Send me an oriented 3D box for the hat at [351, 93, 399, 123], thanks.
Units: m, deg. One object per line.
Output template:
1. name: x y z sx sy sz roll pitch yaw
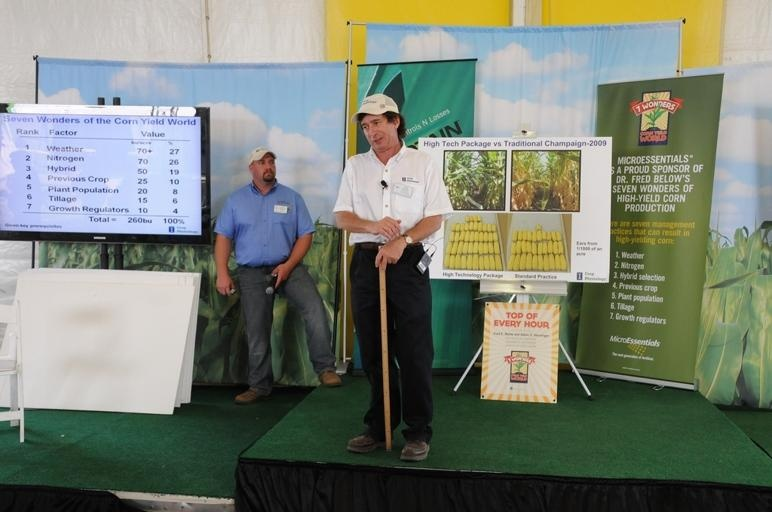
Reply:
1. hat: -0.079 -1.128 5.413 0.327 0.194 0.234 -1 11 -7

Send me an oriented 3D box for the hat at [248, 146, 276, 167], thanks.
1. hat: -1.228 -0.949 6.835 0.156 0.095 0.237 -5 -3 -30

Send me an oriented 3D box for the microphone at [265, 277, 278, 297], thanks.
1. microphone: -1.091 0.286 6.747 0.110 0.205 0.213 -2 11 -9

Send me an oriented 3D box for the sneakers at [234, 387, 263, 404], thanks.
1. sneakers: -1.277 1.316 6.709 0.280 0.137 0.122 8 -5 -39

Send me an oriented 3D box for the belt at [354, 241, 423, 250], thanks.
1. belt: 0.010 -0.077 5.406 0.515 0.058 0.103 2 11 13

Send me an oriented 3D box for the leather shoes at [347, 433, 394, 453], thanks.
1. leather shoes: -0.127 1.454 5.515 0.343 0.173 0.142 4 -2 -10

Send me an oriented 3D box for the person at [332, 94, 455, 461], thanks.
1. person: 0.054 0.165 5.447 0.863 2.739 0.633 1 10 9

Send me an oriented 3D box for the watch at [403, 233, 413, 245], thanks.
1. watch: 0.165 -0.126 5.365 0.046 0.078 0.070 -5 -5 -28

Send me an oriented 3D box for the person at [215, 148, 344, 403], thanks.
1. person: -1.060 0.166 6.741 1.070 2.309 0.731 -3 10 -15
